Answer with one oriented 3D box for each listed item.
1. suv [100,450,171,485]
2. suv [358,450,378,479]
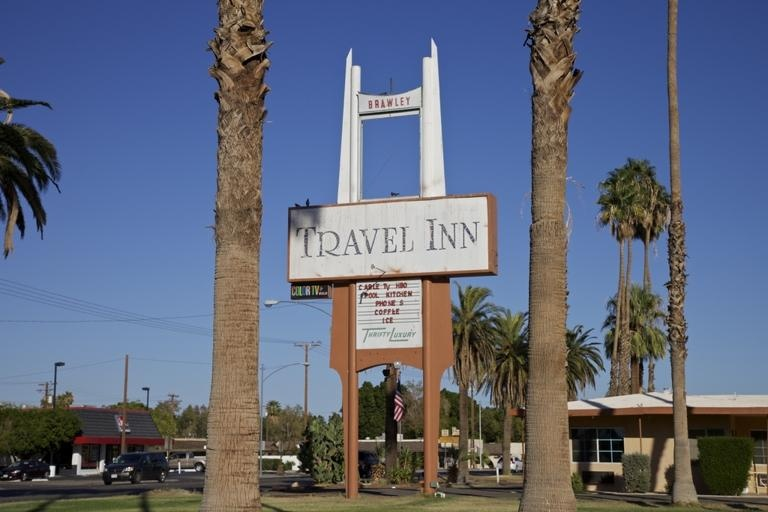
[{"bbox_3d":[-17.445,14.950,68.314,1.693,2.371,4.888,-15,-20,43],"label":"suv"},{"bbox_3d":[-1.292,15.028,69.880,1.754,2.468,0.785,-1,-14,7],"label":"suv"}]
